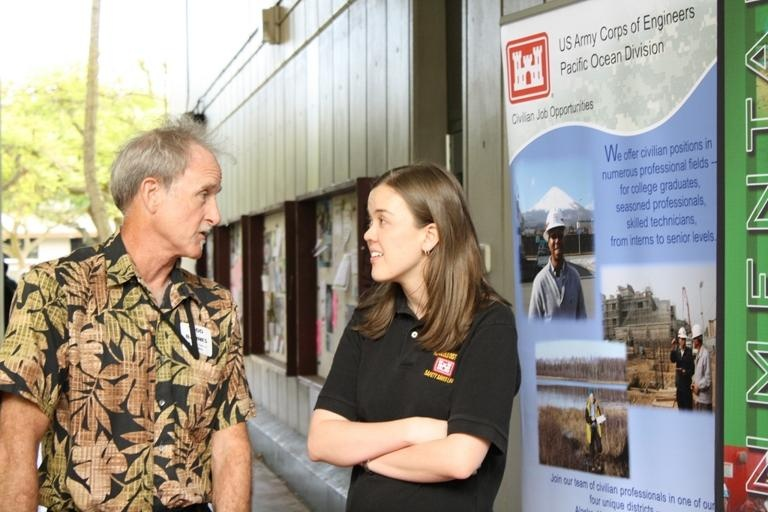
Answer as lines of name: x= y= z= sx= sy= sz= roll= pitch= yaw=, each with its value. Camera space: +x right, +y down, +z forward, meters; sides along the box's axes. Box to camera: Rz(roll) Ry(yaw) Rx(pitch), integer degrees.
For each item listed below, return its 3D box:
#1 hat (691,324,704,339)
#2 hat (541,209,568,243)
hat: x=1.459 y=0.358 z=3.501 sx=0.049 sy=0.045 sz=0.054 roll=-15 pitch=-9 yaw=-17
hat: x=0.897 y=-0.158 z=3.948 sx=0.089 sy=0.091 sz=0.142 roll=-4 pitch=-32 yaw=-4
